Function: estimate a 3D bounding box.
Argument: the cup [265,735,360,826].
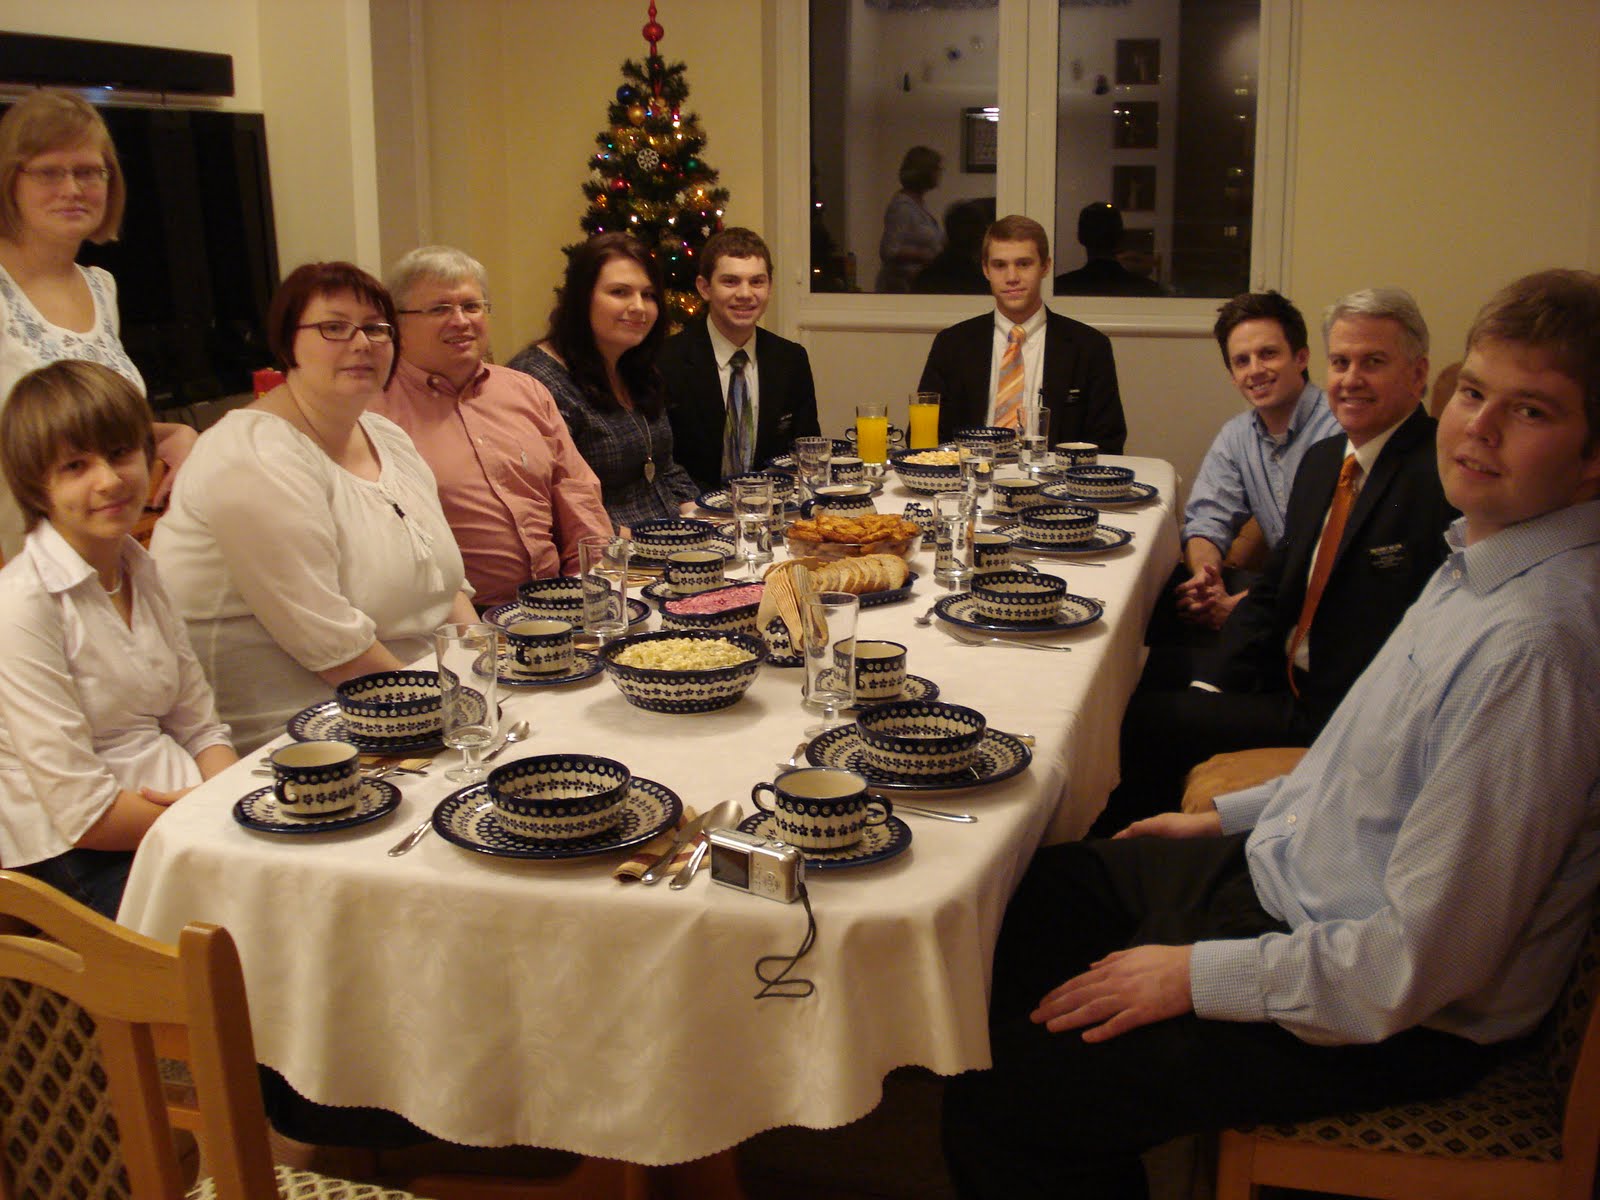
[{"bbox_3d":[-0.680,0.257,1.760,0.094,0.074,0.122,7,17,14],"label":"cup"}]

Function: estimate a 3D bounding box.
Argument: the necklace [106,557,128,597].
[{"bbox_3d":[-1.252,-0.042,2.296,0.046,0.060,0.044,-2,-15,-13],"label":"necklace"}]

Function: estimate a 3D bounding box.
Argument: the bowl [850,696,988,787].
[{"bbox_3d":[0.217,0.209,1.902,0.134,0.055,0.141,13,10,-2],"label":"bowl"}]

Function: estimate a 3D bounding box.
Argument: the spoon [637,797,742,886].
[{"bbox_3d":[-0.145,0.312,1.651,0.048,0.024,0.184,8,17,10],"label":"spoon"}]

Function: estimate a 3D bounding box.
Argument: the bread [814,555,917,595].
[{"bbox_3d":[0.133,-0.050,2.674,0.149,0.063,0.095,0,4,-21],"label":"bread"}]

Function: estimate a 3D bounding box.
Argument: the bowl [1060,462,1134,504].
[{"bbox_3d":[0.914,-0.354,3.776,0.155,0.065,0.155,-1,20,0],"label":"bowl"}]

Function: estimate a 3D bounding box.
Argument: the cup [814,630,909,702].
[{"bbox_3d":[0.104,0.111,2.103,0.149,0.058,0.092,-5,13,-22],"label":"cup"}]

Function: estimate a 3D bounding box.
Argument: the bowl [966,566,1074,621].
[{"bbox_3d":[0.449,-0.022,2.546,0.130,0.054,0.125,1,15,0],"label":"bowl"}]

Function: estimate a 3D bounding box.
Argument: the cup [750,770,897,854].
[{"bbox_3d":[0.032,0.321,1.699,0.160,0.068,0.103,10,26,13],"label":"cup"}]
